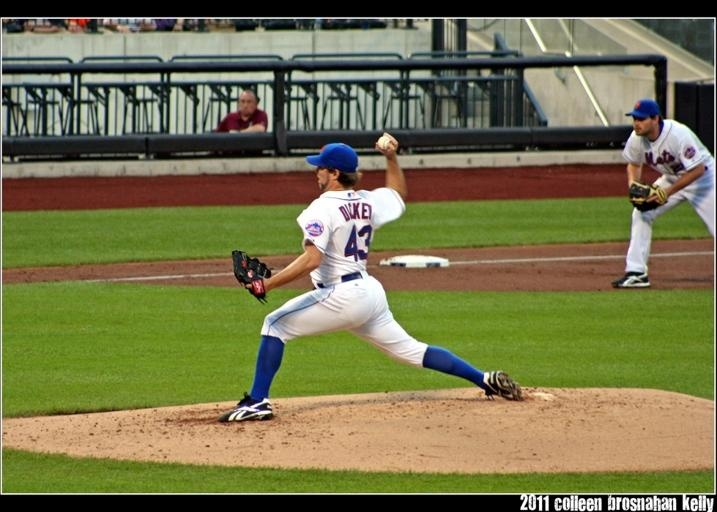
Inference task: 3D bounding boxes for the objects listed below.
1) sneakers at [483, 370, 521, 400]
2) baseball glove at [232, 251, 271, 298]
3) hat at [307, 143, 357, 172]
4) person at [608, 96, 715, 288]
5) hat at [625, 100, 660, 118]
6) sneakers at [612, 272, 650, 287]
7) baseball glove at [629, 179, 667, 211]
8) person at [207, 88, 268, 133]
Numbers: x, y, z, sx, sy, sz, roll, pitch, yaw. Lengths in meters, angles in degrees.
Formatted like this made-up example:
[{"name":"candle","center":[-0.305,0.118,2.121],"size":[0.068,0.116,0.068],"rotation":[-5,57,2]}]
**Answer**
[{"name":"sneakers","center":[1.839,1.705,23.591],"size":[0.471,0.293,0.228],"rotation":[28,-19,-11]},{"name":"baseball glove","center":[-1.333,0.297,23.011],"size":[0.451,0.654,0.321],"rotation":[-3,3,-4]},{"name":"hat","center":[-0.302,-1.193,23.159],"size":[0.500,0.283,0.354],"rotation":[4,9,4]},{"name":"person","center":[4.355,-0.843,26.257],"size":[1.410,2.685,0.727],"rotation":[-2,3,8]},{"name":"hat","center":[4.023,-2.014,26.044],"size":[0.415,0.239,0.279],"rotation":[0,8,-6]},{"name":"sneakers","center":[3.946,0.383,26.649],"size":[0.546,0.267,0.214],"rotation":[2,3,1]},{"name":"baseball glove","center":[4.088,-0.800,26.078],"size":[0.450,0.302,0.355],"rotation":[4,1,-2]},{"name":"person","center":[-1.972,-2.444,32.114],"size":[0.816,0.728,1.374],"rotation":[-4,3,-18]}]
